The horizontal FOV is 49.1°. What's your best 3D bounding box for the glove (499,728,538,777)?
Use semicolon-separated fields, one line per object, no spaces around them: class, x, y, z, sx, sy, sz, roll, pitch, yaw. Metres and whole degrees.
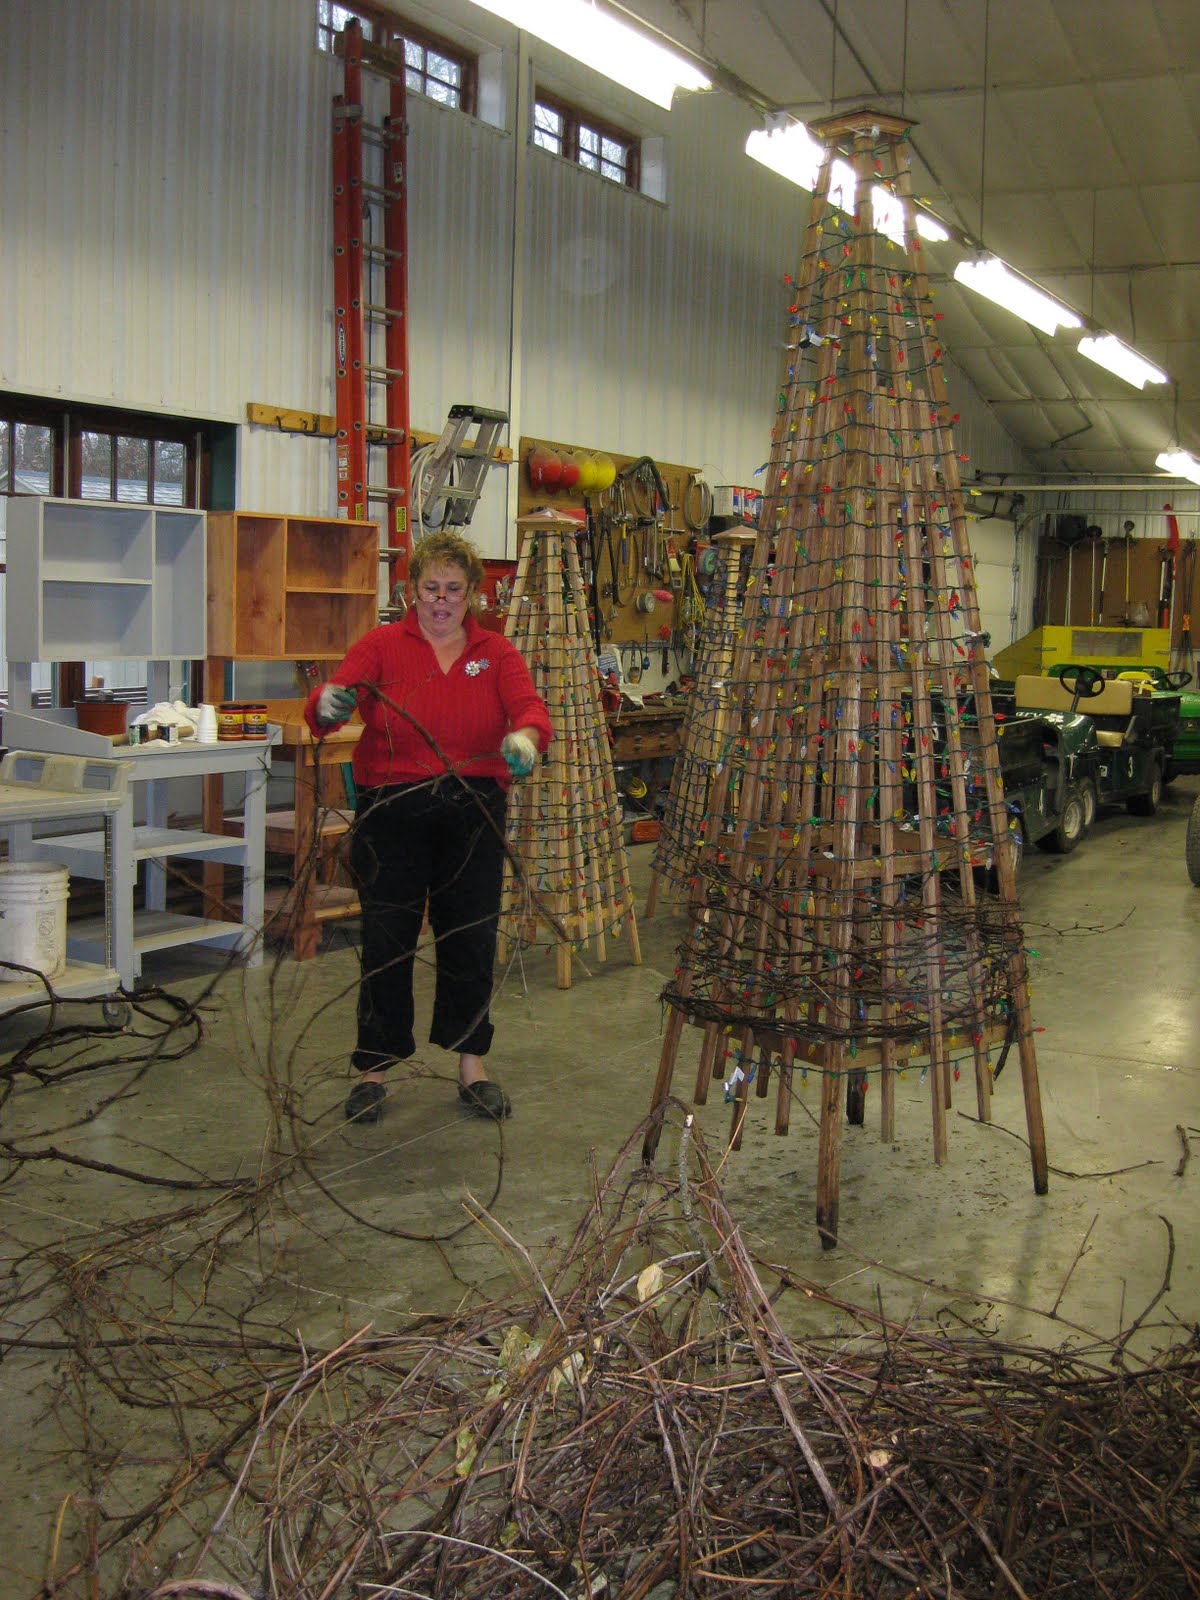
glove;-0.198;-0.118;3.260;0.093;0.112;0.047;-1;-1;-4

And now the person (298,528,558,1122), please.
person;-0.467;0.097;3.572;0.624;1.632;0.750;1;4;-3

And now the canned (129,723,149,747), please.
canned;-1.790;-0.256;5.110;0.076;0.108;0.073;1;0;-5

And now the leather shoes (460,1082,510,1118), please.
leather shoes;-0.326;0.859;3.760;0.070;0.055;0.178;-2;3;-27

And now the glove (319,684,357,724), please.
glove;-0.661;-0.237;3.288;0.088;0.101;0.172;1;4;-10

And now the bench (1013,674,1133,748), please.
bench;3.567;-0.733;9.836;0.698;0.457;0.710;12;-4;-29
